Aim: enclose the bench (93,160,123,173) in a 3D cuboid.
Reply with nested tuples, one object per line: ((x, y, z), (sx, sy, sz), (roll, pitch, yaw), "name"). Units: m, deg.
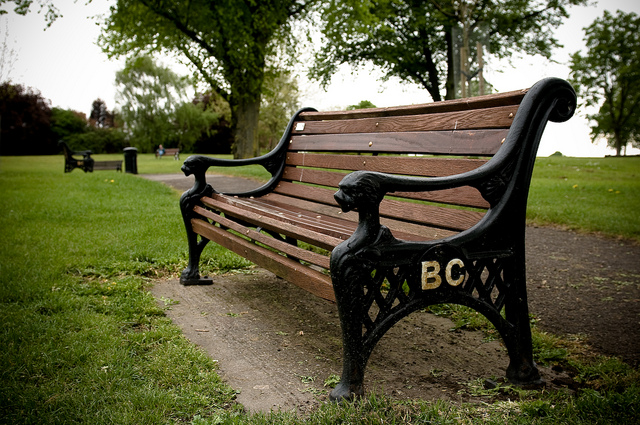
((-9.046, -1.992, 24.113), (1.049, 0.480, 0.852), (0, 9, -16), "bench")

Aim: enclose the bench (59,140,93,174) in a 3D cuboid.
((-9.565, -2.154, 22.193), (1.575, 1.326, 1.427), (3, 6, 6), "bench")

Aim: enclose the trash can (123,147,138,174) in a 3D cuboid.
((-7.857, -2.185, 23.432), (0.486, 1.001, 0.830), (-1, 9, -20), "trash can")
